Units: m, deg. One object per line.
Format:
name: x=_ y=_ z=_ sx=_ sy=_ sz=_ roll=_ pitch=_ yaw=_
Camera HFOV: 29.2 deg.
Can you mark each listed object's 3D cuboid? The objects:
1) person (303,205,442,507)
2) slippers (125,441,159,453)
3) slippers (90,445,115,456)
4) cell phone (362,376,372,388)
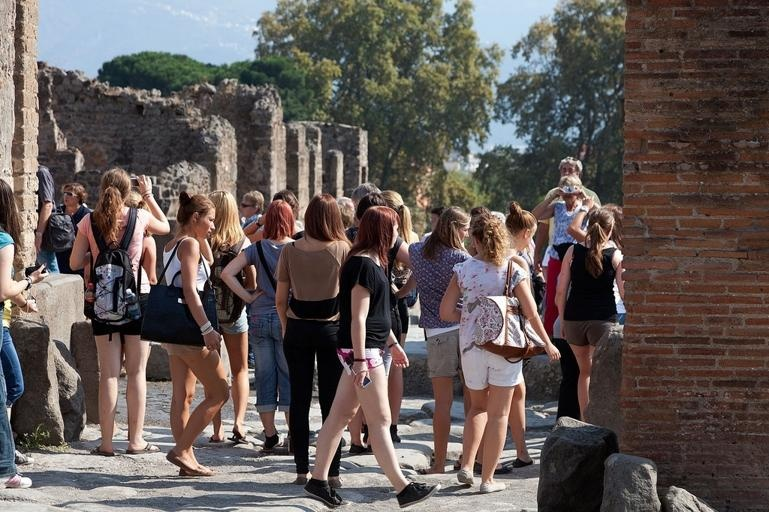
person: x=-0.219 y=1.172 z=16.335 sx=1.183 sy=3.248 sz=1.116 roll=-1 pitch=15 yaw=-7
slippers: x=-2.837 y=2.268 z=17.430 sx=0.279 sy=0.084 sz=0.153 roll=0 pitch=0 yaw=-13
slippers: x=-3.283 y=2.269 z=17.261 sx=0.226 sy=0.082 sz=0.120 roll=5 pitch=-4 yaw=17
cell phone: x=-0.180 y=1.384 z=16.275 sx=0.092 sy=0.106 sz=0.015 roll=30 pitch=-4 yaw=-24
